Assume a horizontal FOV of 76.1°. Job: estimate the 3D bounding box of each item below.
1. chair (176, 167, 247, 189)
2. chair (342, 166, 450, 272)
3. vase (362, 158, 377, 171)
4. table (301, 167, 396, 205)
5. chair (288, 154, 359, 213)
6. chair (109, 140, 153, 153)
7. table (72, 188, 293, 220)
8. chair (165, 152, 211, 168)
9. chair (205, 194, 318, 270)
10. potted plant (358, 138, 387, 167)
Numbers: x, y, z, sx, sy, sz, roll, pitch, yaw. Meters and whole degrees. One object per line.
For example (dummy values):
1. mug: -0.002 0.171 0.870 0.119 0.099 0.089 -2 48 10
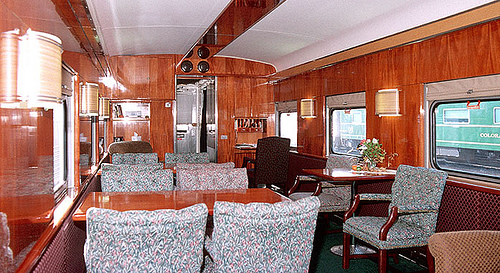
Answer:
1. chair: -0.568 0.648 4.934 1.047 0.301 0.225 0 4 -7
2. chair: 2.231 1.351 5.059 1.254 1.691 0.794 -1 4 -13
3. vase: 2.239 0.510 5.924 0.244 0.206 0.232 1 2 -32
4. table: 1.695 0.770 5.720 0.829 0.689 0.773 1 -1 -16
5. chair: 1.605 0.920 6.510 1.281 1.449 1.146 3 -2 -16
6. chair: -3.034 0.264 8.128 0.967 0.270 0.292 -2 5 -33
7. table: -0.932 0.875 4.304 2.547 0.136 0.978 -1 4 -10
8. chair: -1.353 0.508 6.822 0.933 0.281 0.217 0 4 -2
9. chair: 0.149 1.074 3.758 0.928 1.103 0.942 0 3 -4
10. potted plant: 2.323 0.288 6.027 0.586 0.522 0.544 -1 9 22
